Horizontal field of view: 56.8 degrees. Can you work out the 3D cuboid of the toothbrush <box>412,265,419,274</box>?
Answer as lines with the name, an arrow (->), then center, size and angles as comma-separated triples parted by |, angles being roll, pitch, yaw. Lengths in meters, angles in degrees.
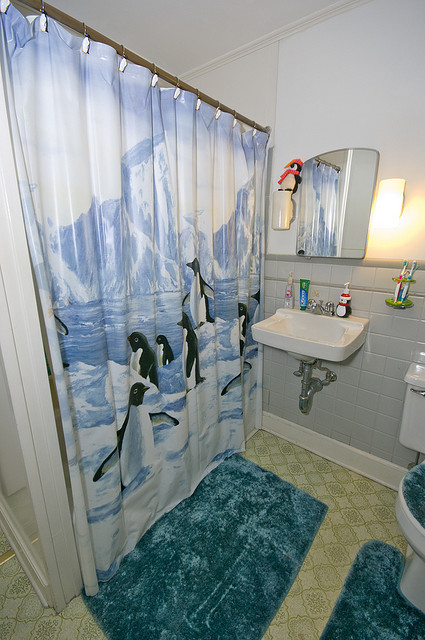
toothbrush -> 0.849, -0.210, 1.646 | 0.016, 0.035, 0.037 | 8, 20, 32

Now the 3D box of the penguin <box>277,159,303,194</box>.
penguin -> 0.384, -0.692, 1.912 | 0.125, 0.230, 0.073 | 14, 10, 30

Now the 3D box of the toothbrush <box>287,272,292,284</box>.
toothbrush -> 0.412, -0.219, 2.090 | 0.023, 0.057, 0.041 | 1, 16, 11

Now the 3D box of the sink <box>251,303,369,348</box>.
sink -> 0.448, 0.055, 1.866 | 0.485, 0.147, 0.404 | 13, 24, 38

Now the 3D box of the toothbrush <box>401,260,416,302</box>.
toothbrush -> 0.818, -0.153, 1.650 | 0.027, 0.195, 0.014 | 20, 15, 30

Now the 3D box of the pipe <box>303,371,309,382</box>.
pipe -> 0.470, 0.285, 1.965 | 0.032, 0.044, 0.035 | 7, 17, 24

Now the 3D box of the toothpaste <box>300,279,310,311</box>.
toothpaste -> 0.474, -0.126, 2.037 | 0.045, 0.156, 0.032 | 3, 15, 16

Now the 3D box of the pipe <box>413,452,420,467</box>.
pipe -> 0.953, 0.643, 1.836 | 0.013, 0.091, 0.061 | 5, 17, 23
